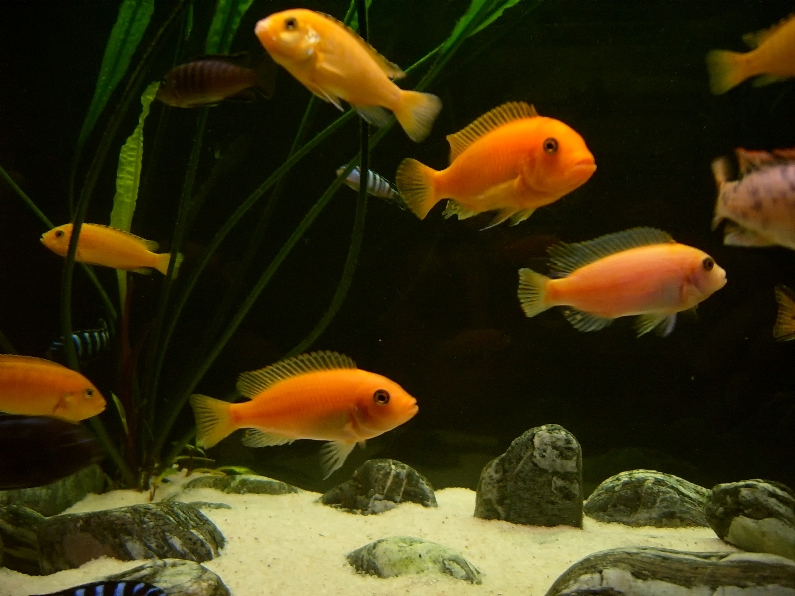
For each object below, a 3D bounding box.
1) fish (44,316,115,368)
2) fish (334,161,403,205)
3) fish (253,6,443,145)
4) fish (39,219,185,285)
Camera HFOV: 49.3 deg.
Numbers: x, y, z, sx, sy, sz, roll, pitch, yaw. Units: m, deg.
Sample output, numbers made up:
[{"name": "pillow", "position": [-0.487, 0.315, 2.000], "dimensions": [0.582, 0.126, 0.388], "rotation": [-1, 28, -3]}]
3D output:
[{"name": "fish", "position": [-1.765, 0.272, 4.896], "dimensions": [0.082, 0.190, 0.445], "rotation": [23, 26, 33]}, {"name": "fish", "position": [-0.113, -0.591, 4.807], "dimensions": [0.447, 0.181, 0.106], "rotation": [20, -24, 3]}, {"name": "fish", "position": [-0.208, -0.970, 3.808], "dimensions": [0.817, 0.537, 0.120], "rotation": [-2, 6, -19]}, {"name": "fish", "position": [-1.551, -0.234, 4.620], "dimensions": [0.597, 0.236, 0.132], "rotation": [16, 18, -8]}]
